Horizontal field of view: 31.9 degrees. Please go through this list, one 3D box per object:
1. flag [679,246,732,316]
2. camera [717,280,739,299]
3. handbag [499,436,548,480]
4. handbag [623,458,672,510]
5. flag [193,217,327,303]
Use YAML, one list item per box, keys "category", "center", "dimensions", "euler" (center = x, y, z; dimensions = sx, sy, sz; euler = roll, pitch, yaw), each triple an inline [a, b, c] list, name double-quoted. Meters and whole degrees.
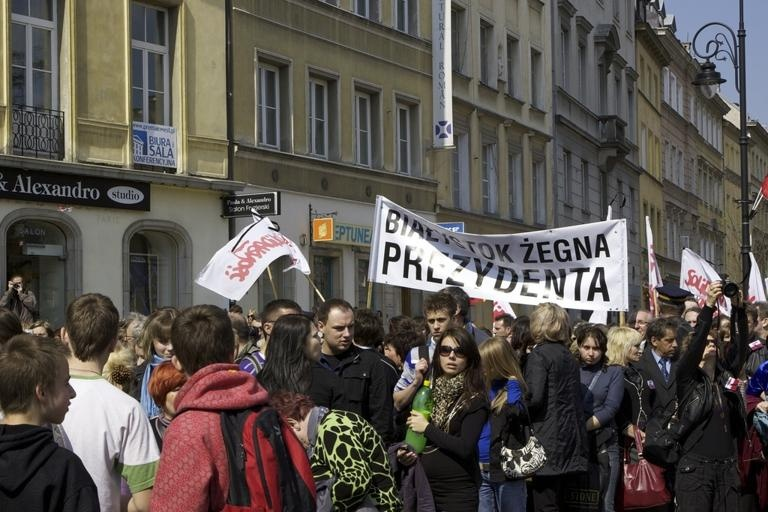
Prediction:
- category: "flag"
  center: [6.115, 0.516, 25.894]
  dimensions: [0.962, 1.395, 0.128]
  euler: [5, 33, 9]
- category: "camera"
  center: [4.292, 0.411, 16.932]
  dimensions: [0.256, 0.146, 0.199]
  euler: [0, 4, -22]
- category: "handbag"
  center: [1.739, 2.551, 17.061]
  dimensions: [0.366, 0.396, 0.196]
  euler: [-22, -13, -24]
- category: "handbag"
  center: [3.545, 3.082, 18.199]
  dimensions: [0.639, 0.810, 0.270]
  euler: [-2, 3, 20]
- category: "flag"
  center: [-2.084, -0.022, 22.369]
  dimensions: [1.410, 0.397, 1.852]
  euler: [13, 32, 11]
